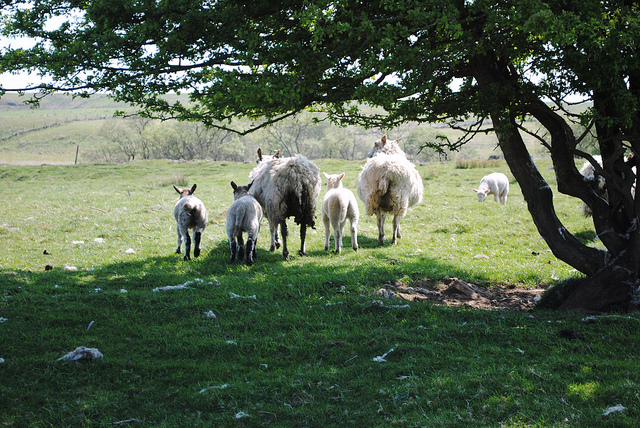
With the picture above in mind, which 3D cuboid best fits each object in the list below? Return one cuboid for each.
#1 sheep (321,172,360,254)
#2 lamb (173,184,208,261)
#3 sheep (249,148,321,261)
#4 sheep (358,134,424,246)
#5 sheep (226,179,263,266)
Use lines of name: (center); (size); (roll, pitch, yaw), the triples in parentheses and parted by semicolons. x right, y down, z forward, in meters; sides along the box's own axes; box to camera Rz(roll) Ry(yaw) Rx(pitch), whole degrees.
sheep: (0.730, -0.174, 26.215); (1.263, 3.016, 4.520); (-1, 1, -4)
lamb: (-4.597, 0.320, 24.251); (1.102, 2.397, 2.333); (-3, 14, -12)
sheep: (-1.530, -0.585, 26.195); (2.074, 3.871, 5.342); (-3, 8, -18)
sheep: (2.847, -1.252, 27.651); (2.378, 3.786, 4.444); (2, 7, 8)
sheep: (-2.591, 0.494, 23.280); (1.092, 2.238, 1.796); (0, 13, -1)
